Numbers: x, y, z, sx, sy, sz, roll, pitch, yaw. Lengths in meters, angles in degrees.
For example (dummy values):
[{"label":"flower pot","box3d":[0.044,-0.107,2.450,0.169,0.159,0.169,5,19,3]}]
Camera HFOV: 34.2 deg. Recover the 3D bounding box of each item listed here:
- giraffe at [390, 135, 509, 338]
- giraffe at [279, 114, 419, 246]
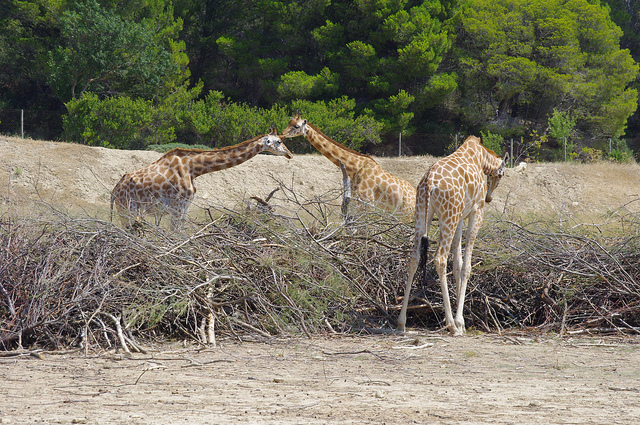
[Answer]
[{"label":"giraffe","box3d":[4.227,0.784,33.978,3.622,6.590,1.224,-1,2,-20]},{"label":"giraffe","box3d":[1.362,-0.987,36.630,6.042,4.514,1.416,1,14,-29]}]
